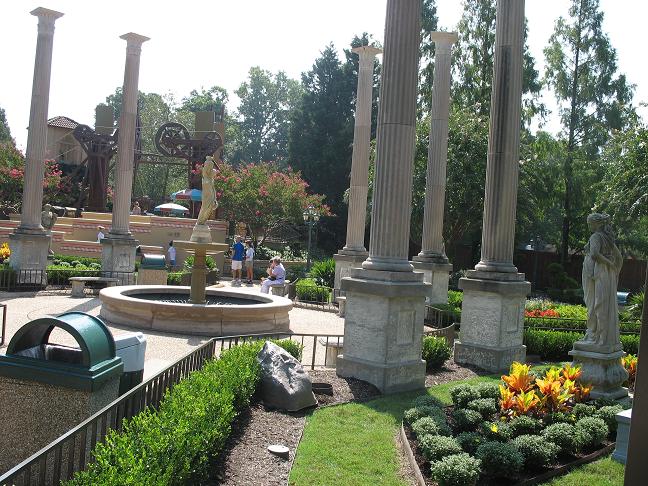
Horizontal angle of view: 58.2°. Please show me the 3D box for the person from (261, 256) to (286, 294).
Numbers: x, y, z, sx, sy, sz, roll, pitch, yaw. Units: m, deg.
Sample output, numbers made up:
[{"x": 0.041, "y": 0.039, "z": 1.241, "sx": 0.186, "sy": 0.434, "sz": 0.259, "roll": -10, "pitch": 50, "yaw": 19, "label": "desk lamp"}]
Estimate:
[{"x": -1.606, "y": 1.036, "z": 18.697, "sx": 0.669, "sy": 1.069, "sz": 1.223, "roll": 3, "pitch": 0, "yaw": 3, "label": "person"}]

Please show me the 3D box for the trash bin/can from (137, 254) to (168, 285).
[{"x": -6.057, "y": 1.095, "z": 20.695, "sx": 1.003, "sy": 1.314, "sz": 1.062, "roll": -4, "pitch": -6, "yaw": 36, "label": "trash bin/can"}]

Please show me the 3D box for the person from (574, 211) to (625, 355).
[{"x": 5.183, "y": 0.699, "z": 10.849, "sx": 0.702, "sy": 2.726, "sz": 0.579, "roll": 2, "pitch": 1, "yaw": -43, "label": "person"}]

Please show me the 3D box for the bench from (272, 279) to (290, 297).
[{"x": -1.392, "y": 1.565, "z": 19.244, "sx": 0.563, "sy": 0.680, "sz": 0.460, "roll": 0, "pitch": 3, "yaw": -7, "label": "bench"}]
